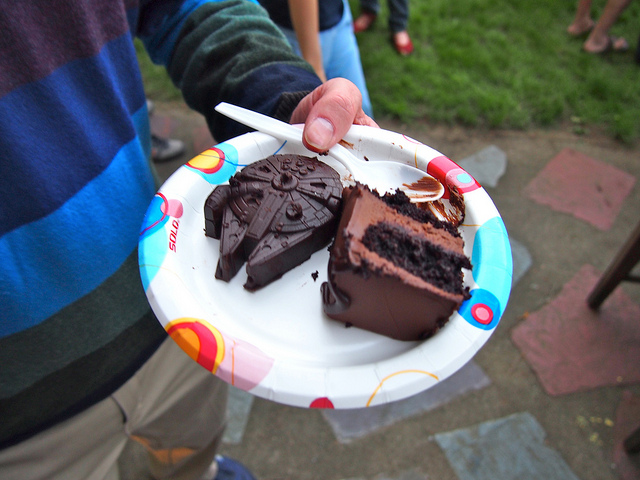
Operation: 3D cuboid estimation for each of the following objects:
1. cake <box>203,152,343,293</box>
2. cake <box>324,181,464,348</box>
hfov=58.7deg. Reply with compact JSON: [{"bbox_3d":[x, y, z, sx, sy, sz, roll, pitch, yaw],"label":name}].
[{"bbox_3d":[-0.215,-0.114,2.360,0.670,0.183,0.484,-38,73,-12],"label":"cake"},{"bbox_3d":[0.294,0.074,2.167,0.499,0.220,0.599,12,70,6],"label":"cake"}]
